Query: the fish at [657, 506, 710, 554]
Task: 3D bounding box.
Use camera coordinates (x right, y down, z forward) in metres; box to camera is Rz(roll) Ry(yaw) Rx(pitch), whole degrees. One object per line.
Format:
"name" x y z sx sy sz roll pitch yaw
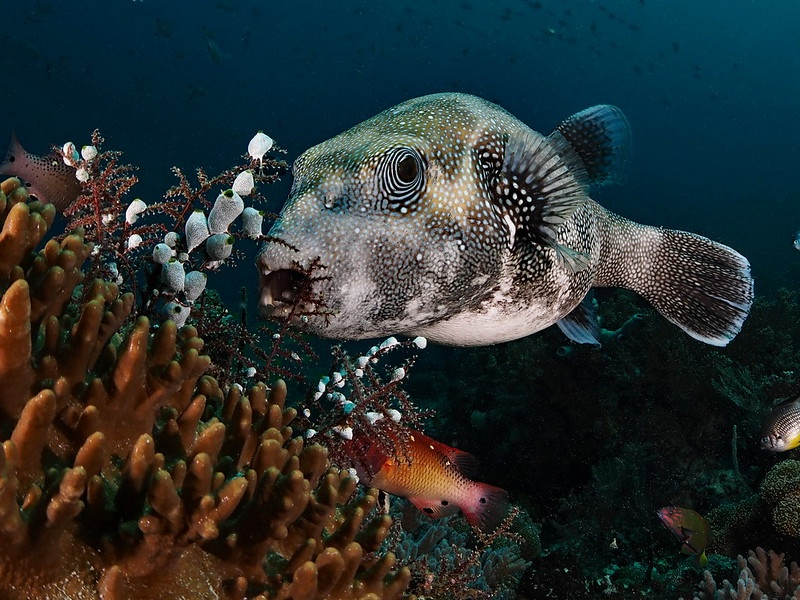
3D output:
"fish" 10.997 8.665 36.769 2.498 1.201 0.989 41 11 20

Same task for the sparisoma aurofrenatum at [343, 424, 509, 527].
"sparisoma aurofrenatum" 0.802 6.558 35.464 6.570 2.708 1.653 22 7 -12
